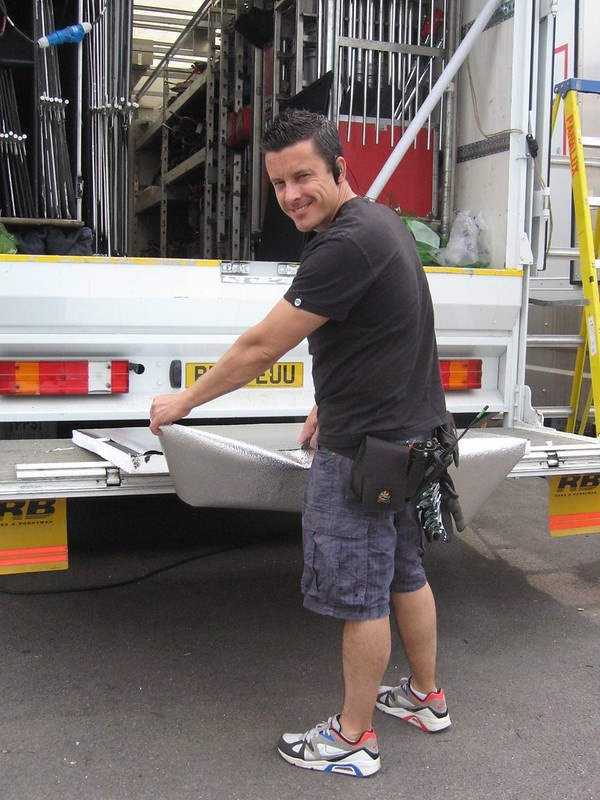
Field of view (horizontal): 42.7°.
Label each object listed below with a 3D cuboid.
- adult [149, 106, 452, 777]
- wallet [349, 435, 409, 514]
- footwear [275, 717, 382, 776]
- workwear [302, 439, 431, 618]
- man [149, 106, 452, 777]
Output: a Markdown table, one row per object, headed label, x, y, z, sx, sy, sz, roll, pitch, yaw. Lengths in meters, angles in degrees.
| label | x | y | z | sx | sy | sz | roll | pitch | yaw |
| --- | --- | --- | --- | --- | --- | --- | --- | --- | --- |
| adult | 0.026 | 0.135 | 2.053 | 0.740 | 1.636 | 0.678 | -5 | 9 | -36 |
| wallet | 0.184 | 0.178 | 1.830 | 0.148 | 0.192 | 0.102 | 9 | 7 | -24 |
| footwear | 0.078 | 0.911 | 2.041 | 0.318 | 0.156 | 0.112 | 2 | -20 | 13 |
| workwear | 0.185 | 0.254 | 1.948 | 0.246 | 0.299 | 0.166 | 15 | -18 | 4 |
| man | 0.072 | 0.124 | 2.085 | 0.696 | 1.658 | 0.674 | 5 | 9 | 33 |
